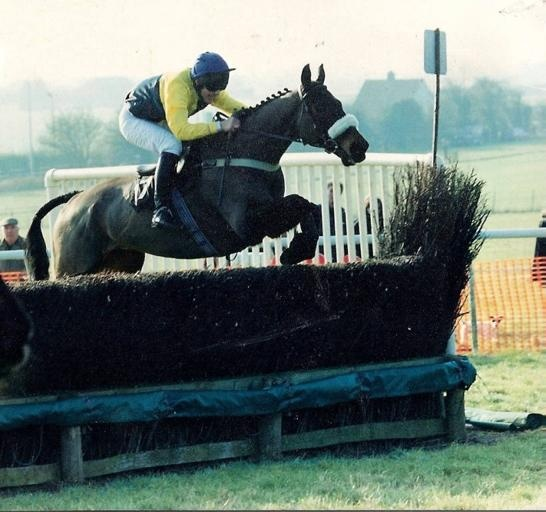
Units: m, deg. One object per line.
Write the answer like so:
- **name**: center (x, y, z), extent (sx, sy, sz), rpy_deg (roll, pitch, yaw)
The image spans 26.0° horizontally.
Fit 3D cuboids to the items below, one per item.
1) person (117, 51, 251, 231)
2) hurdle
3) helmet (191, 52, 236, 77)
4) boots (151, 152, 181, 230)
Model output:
- **person**: center (-0.595, -1.025, 8.183), extent (0.688, 1.676, 0.730), rpy_deg (-11, 19, -40)
- **hurdle**: center (-0.264, 0.767, 7.440), extent (3.323, 1.091, 1.043), rpy_deg (0, -4, -15)
- **helmet**: center (-0.411, -1.288, 7.949), extent (0.272, 0.171, 0.107), rpy_deg (-1, 6, -5)
- **boots**: center (-0.723, -0.452, 7.996), extent (0.204, 0.505, 0.158), rpy_deg (-3, 6, -19)
